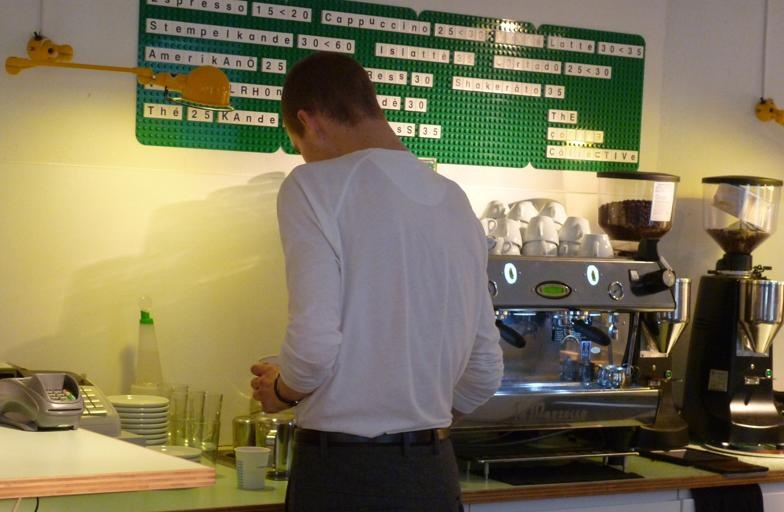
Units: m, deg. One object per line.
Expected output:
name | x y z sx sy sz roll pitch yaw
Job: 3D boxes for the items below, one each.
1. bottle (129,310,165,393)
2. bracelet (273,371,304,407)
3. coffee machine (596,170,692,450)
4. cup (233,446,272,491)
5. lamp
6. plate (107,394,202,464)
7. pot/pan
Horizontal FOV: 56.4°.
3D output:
bottle | -0.909 0.351 2.708 0.109 0.297 0.229 -1 2 -19
bracelet | -0.282 0.361 2.008 0.090 0.089 0.025 36 15 10
coffee machine | 0.958 0.198 2.815 0.348 1.086 0.387 0 2 21
cup | -0.458 0.697 2.387 0.119 0.101 0.130 1 -6 0
lamp | -1.031 -0.631 2.728 0.951 0.355 0.330 3 7 8
plate | -0.788 0.583 2.458 0.293 0.106 0.205 8 -5 -27
pot/pan | -0.437 0.637 2.540 0.236 0.221 0.228 1 -1 -36
